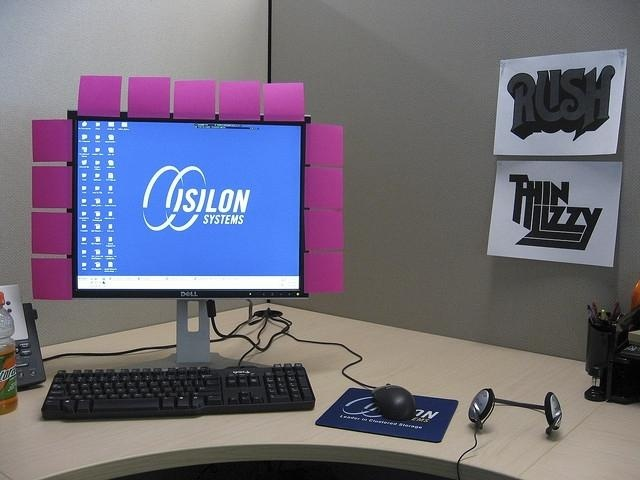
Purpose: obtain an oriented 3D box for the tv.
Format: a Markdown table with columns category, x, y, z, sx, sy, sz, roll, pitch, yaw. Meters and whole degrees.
| category | x | y | z | sx | sy | sz | roll | pitch | yaw |
| --- | --- | --- | --- | --- | --- | --- | --- | --- | --- |
| tv | -0.324 | -0.020 | 1.365 | 0.581 | 0.649 | 0.063 | 0 | -2 | -5 |
